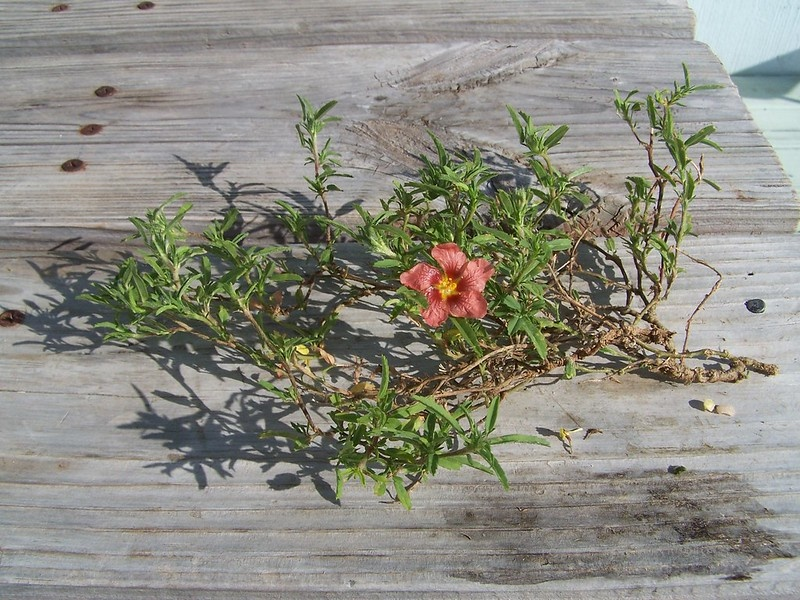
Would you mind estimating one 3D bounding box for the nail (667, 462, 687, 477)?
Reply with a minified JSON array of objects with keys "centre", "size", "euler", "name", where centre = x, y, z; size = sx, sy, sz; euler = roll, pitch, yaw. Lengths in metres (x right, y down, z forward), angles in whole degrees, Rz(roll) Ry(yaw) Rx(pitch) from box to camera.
[{"centre":[0.839,0.512,2.614],"size":[0.056,0.012,0.029],"euler":[3,46,4],"name":"nail"}]
